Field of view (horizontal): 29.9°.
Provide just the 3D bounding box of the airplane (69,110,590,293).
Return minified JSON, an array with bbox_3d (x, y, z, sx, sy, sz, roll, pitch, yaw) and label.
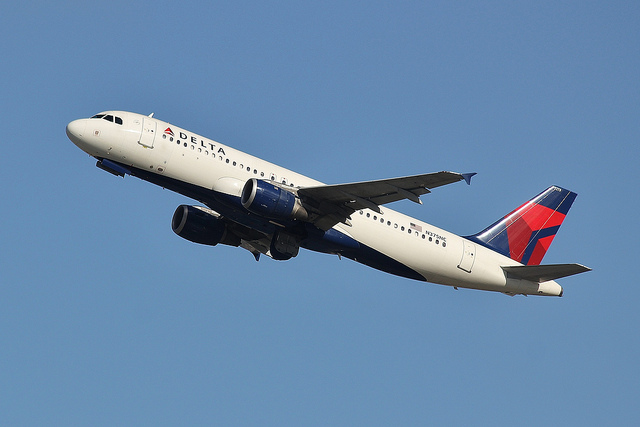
[{"bbox_3d":[0.644,0.314,52.978,13.091,4.035,11.752,19,-24,-12],"label":"airplane"}]
